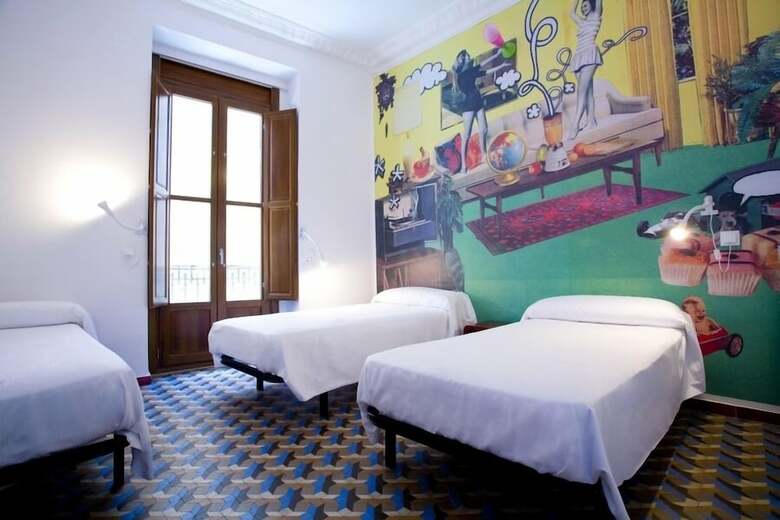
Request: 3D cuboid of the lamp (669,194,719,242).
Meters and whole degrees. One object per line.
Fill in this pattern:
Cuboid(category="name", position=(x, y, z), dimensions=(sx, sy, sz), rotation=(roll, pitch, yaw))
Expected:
Cuboid(category="lamp", position=(2.713, -0.375, 4.466), dimensions=(0.347, 0.404, 0.085), rotation=(3, 15, 17))

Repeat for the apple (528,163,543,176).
Cuboid(category="apple", position=(1.557, -0.971, 5.326), dimensions=(0.122, 0.120, 0.124), rotation=(-4, 1, 17))

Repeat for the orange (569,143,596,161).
Cuboid(category="orange", position=(1.939, -1.091, 5.046), dimensions=(0.181, 0.142, 0.135), rotation=(-32, 19, -9))

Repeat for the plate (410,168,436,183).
Cuboid(category="plate", position=(0.428, -1.057, 6.303), dimensions=(0.399, 0.162, 0.035), rotation=(12, 20, 42))
